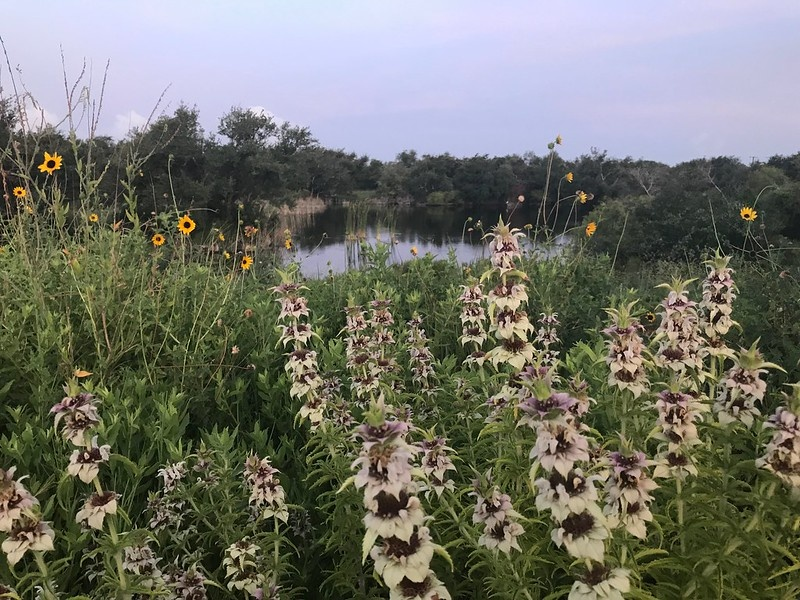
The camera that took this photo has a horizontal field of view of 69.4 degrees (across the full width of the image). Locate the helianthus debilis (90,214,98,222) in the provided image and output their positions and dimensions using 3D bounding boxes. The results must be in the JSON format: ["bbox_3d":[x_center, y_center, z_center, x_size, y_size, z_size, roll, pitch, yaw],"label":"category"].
[{"bbox_3d":[-3.614,-0.965,6.816,0.087,0.107,0.037,-14,-19,-11],"label":"helianthus debilis"}]

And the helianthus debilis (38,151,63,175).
[{"bbox_3d":[-3.974,-1.543,6.555,0.187,0.248,0.628,-3,12,-32],"label":"helianthus debilis"}]
